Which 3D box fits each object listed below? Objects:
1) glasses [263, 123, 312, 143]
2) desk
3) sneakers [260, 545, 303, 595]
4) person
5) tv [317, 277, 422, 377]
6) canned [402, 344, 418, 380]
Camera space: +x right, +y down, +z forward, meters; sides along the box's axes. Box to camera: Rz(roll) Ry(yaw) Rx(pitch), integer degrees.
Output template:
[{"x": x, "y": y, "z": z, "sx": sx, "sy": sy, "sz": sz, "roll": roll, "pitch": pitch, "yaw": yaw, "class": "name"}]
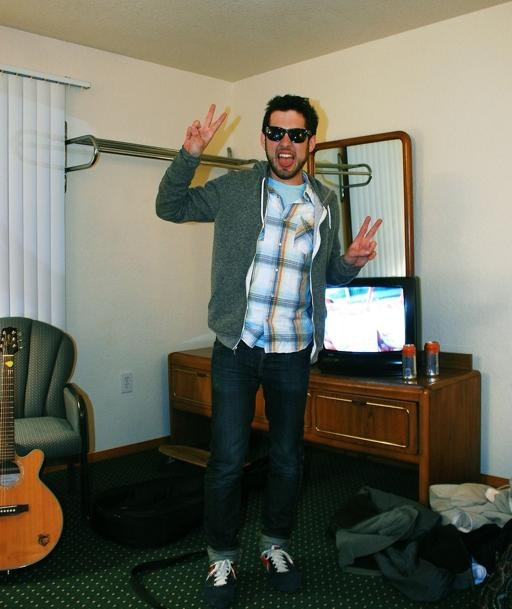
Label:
[{"x": 0.082, "y": -0.510, "z": 1.592, "sx": 0.129, "sy": 0.057, "sz": 0.055, "roll": 3, "pitch": 7, "yaw": 9, "class": "glasses"}, {"x": 0.266, "y": 0.513, "z": 2.793, "sx": 1.561, "sy": 0.667, "sz": 0.588, "roll": 5, "pitch": 13, "yaw": 34, "class": "desk"}, {"x": 0.080, "y": 0.841, "z": 1.729, "sx": 0.094, "sy": 0.074, "sz": 0.189, "roll": -9, "pitch": 9, "yaw": -12, "class": "sneakers"}, {"x": 0.009, "y": 0.125, "z": 1.671, "sx": 0.609, "sy": 1.538, "sz": 0.294, "roll": -3, "pitch": 8, "yaw": -35, "class": "person"}, {"x": 0.536, "y": 0.104, "z": 2.428, "sx": 0.447, "sy": 0.428, "sz": 0.235, "roll": -1, "pitch": -4, "yaw": 28, "class": "tv"}, {"x": 0.673, "y": 0.258, "z": 2.335, "sx": 0.060, "sy": 0.144, "sz": 0.100, "roll": 3, "pitch": 7, "yaw": 13, "class": "canned"}]
